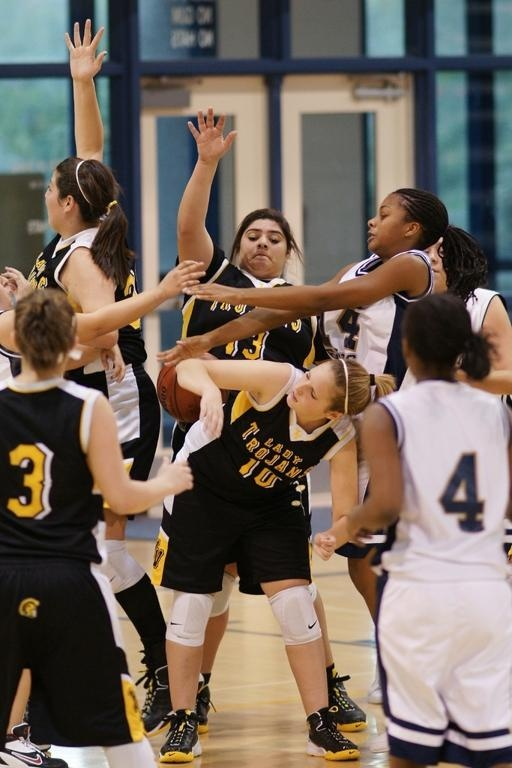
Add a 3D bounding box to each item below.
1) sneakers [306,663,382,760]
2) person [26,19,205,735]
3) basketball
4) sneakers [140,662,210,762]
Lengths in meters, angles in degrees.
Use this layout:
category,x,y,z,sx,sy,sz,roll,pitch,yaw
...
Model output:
category,x,y,z,sx,sy,sz,roll,pitch,yaw
sneakers,0.251,1.001,2.804,0.103,0.195,0.293,-1,-15,-12
person,-0.599,0.043,3.068,0.764,2.245,0.582,-6,12,-27
basketball,-0.169,0.007,2.612,0.182,0.207,0.176,5,14,-18
sneakers,-0.250,0.993,2.786,0.110,0.215,0.327,-11,-5,8
